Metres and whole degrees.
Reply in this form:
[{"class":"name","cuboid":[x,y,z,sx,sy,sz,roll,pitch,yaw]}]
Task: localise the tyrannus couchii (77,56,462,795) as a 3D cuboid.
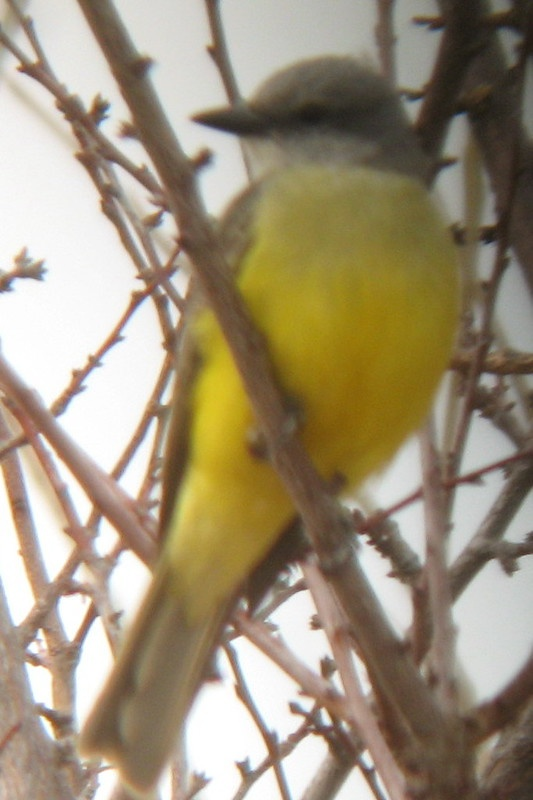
[{"class":"tyrannus couchii","cuboid":[0.010,0.033,0.567,0.152,0.169,0.402,19,-77,-30]}]
